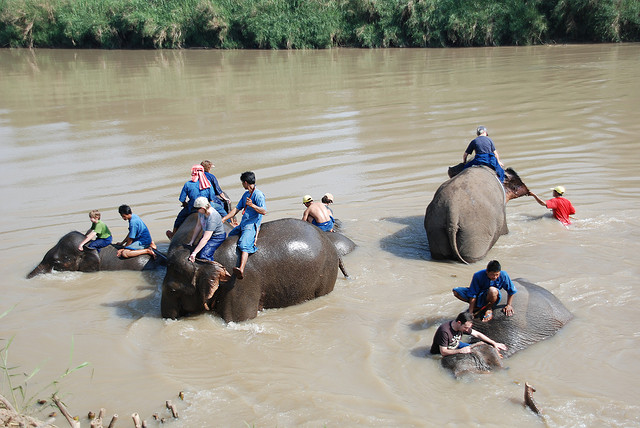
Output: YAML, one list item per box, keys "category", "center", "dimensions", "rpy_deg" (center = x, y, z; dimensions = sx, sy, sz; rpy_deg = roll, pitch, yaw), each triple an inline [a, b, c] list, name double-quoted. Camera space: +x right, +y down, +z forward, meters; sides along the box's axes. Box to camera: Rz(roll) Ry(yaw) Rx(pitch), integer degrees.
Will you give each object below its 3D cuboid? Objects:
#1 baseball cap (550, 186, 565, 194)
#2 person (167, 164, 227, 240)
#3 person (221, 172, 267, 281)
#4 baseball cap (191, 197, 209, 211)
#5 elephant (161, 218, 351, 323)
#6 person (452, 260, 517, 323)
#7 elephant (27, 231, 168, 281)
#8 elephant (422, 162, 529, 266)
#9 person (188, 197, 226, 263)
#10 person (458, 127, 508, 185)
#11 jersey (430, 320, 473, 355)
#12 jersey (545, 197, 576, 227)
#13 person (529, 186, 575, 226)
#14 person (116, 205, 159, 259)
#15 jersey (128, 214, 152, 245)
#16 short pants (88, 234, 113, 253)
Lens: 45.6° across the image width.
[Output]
- category: "baseball cap"
  center: [5.695, -0.624, 18.270]
  dimensions: [0.321, 0.115, 0.218]
  rpy_deg: [18, 8, 26]
- category: "person"
  center: [-2.819, -0.239, 17.401]
  dimensions: [1.699, 1.561, 1.047]
  rpy_deg: [-3, 26, -9]
- category: "person"
  center: [-1.488, 0.180, 15.471]
  dimensions: [0.805, 2.077, 1.413]
  rpy_deg: [-6, 15, -6]
- category: "baseball cap"
  center: [-2.416, -0.232, 15.385]
  dimensions: [0.337, 0.335, 0.247]
  rpy_deg: [13, 32, -8]
- category: "elephant"
  center: [-1.367, 0.971, 16.039]
  dimensions: [3.874, 2.022, 1.601]
  rpy_deg: [-10, 22, -13]
- category: "person"
  center: [3.233, 1.409, 14.799]
  dimensions: [1.240, 1.080, 0.811]
  rpy_deg: [3, 13, 12]
- category: "elephant"
  center: [-5.080, 1.081, 17.568]
  dimensions: [3.234, 1.258, 1.065]
  rpy_deg: [2, 22, -22]
- category: "elephant"
  center: [3.320, 0.056, 16.990]
  dimensions: [1.748, 1.877, 1.043]
  rpy_deg: [-11, 16, -23]
- category: "person"
  center: [-2.328, 0.279, 15.306]
  dimensions: [0.769, 1.226, 0.649]
  rpy_deg: [-5, 15, 1]
- category: "person"
  center: [3.902, -1.446, 18.164]
  dimensions: [1.294, 1.205, 0.766]
  rpy_deg: [-2, 3, 5]
- category: "jersey"
  center: [2.616, 2.410, 14.387]
  dimensions: [0.643, 0.646, 0.461]
  rpy_deg: [-6, 7, 13]
- category: "jersey"
  center: [5.686, -0.087, 17.972]
  dimensions: [0.603, 0.600, 0.450]
  rpy_deg: [2, 16, 24]
- category: "person"
  center: [5.602, -0.227, 18.151]
  dimensions: [0.961, 0.793, 0.684]
  rpy_deg: [5, 17, 31]
- category: "person"
  center: [-4.296, 0.256, 17.306]
  dimensions: [1.084, 1.234, 1.067]
  rpy_deg: [4, 19, 5]
- category: "jersey"
  center: [-4.073, 0.473, 17.156]
  dimensions: [0.436, 0.616, 0.480]
  rpy_deg: [-14, -12, 10]
- category: "short pants"
  center: [-4.967, 0.636, 17.228]
  dimensions: [0.450, 0.254, 0.277]
  rpy_deg: [-18, 34, -7]
